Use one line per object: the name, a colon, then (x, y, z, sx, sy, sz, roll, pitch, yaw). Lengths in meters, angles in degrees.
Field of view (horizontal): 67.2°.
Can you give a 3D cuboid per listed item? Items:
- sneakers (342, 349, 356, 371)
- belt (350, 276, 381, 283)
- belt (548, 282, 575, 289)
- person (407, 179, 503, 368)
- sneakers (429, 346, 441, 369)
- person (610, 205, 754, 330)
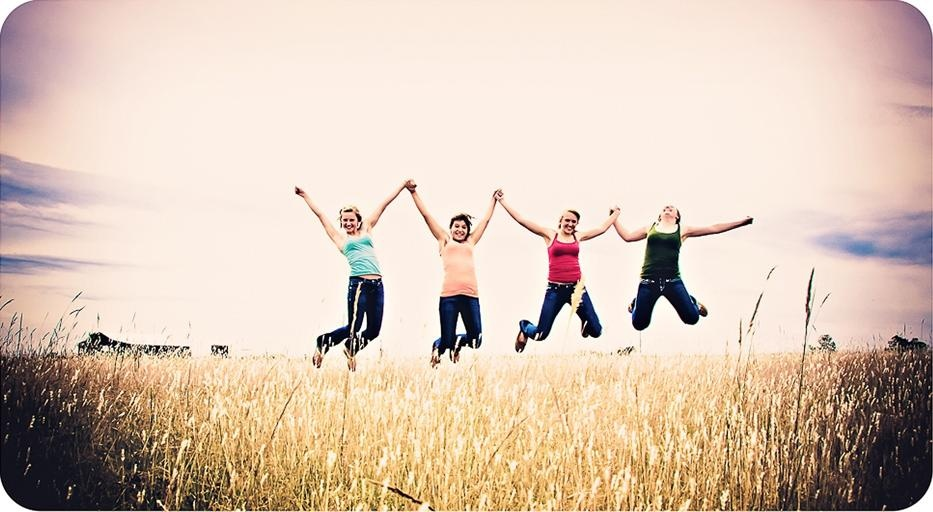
sneakers: (-1.469, 1.327, 8.906, 0.188, 0.199, 0.551, -1, 5, -3)
belt: (-1.338, 0.306, 9.370, 0.381, 0.082, 0.178, -5, 14, -19)
belt: (1.299, 0.390, 9.559, 0.358, 0.091, 0.036, 2, 14, 9)
person: (-0.138, 0.246, 9.431, 1.116, 2.361, 0.676, 0, 14, 1)
sneakers: (-0.418, 1.349, 9.490, 0.156, 0.202, 0.201, 4, 14, 18)
person: (2.401, 0.067, 8.338, 1.579, 1.202, 0.659, -2, -17, 17)
